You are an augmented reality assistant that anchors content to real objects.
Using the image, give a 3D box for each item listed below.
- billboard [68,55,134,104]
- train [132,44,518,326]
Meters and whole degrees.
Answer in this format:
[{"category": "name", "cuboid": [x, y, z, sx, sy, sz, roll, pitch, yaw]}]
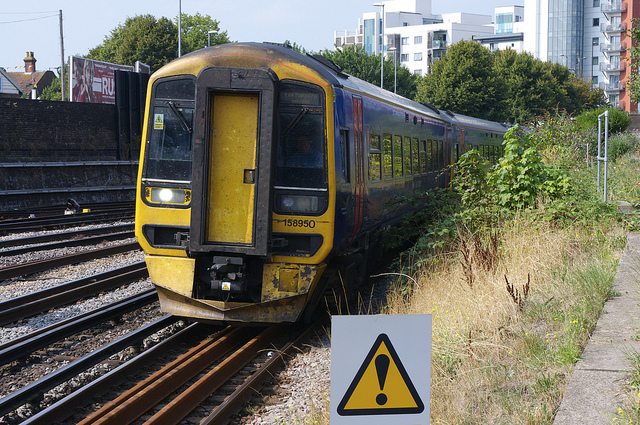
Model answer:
[{"category": "billboard", "cuboid": [-14.374, -8.218, 32.866, 1.595, 2.832, 5.506, -1, 8, -7]}, {"category": "train", "cuboid": [0.304, -0.556, 9.851, 2.294, 4.525, 6.871, 5, 9, 37]}]
